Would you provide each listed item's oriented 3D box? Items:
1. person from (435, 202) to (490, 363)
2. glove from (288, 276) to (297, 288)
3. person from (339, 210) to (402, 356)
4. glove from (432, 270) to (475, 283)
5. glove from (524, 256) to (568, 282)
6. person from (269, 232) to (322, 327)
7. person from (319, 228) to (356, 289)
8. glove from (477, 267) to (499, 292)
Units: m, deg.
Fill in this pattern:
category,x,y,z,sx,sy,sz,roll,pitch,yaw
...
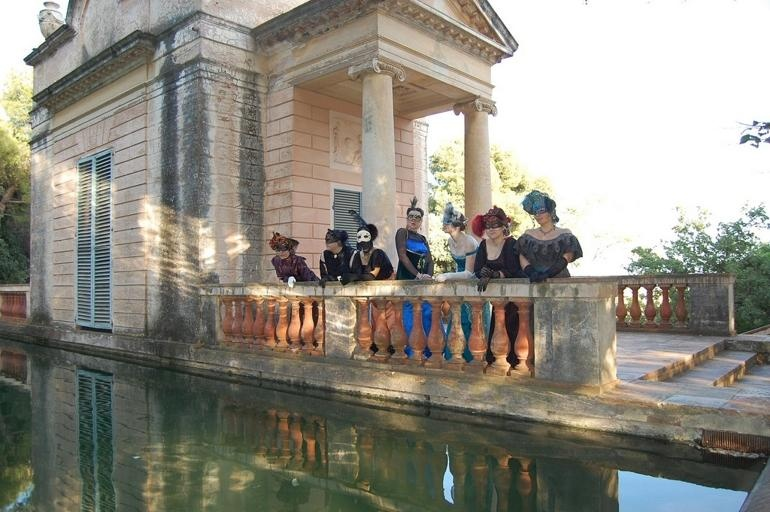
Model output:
category,x,y,z,sx,sy,sz,roll,pitch,yaw
person,1.361,0.607,12.443,1.018,2.974,0.896,-6,9,-23
glove,-1.771,0.474,13.142,0.158,0.213,0.215,-4,11,-8
person,-0.348,0.475,12.704,0.936,2.701,1.402,-1,6,11
glove,1.166,0.317,11.684,0.680,0.107,0.594,-1,11,10
glove,2.553,0.233,10.891,0.495,0.170,0.408,-19,16,-10
person,-1.763,0.458,14.063,0.888,2.295,0.800,-13,19,-16
person,-0.861,0.021,12.745,0.680,1.024,0.673,-4,-8,4
glove,1.630,0.376,11.092,0.104,0.375,0.367,21,-2,31
